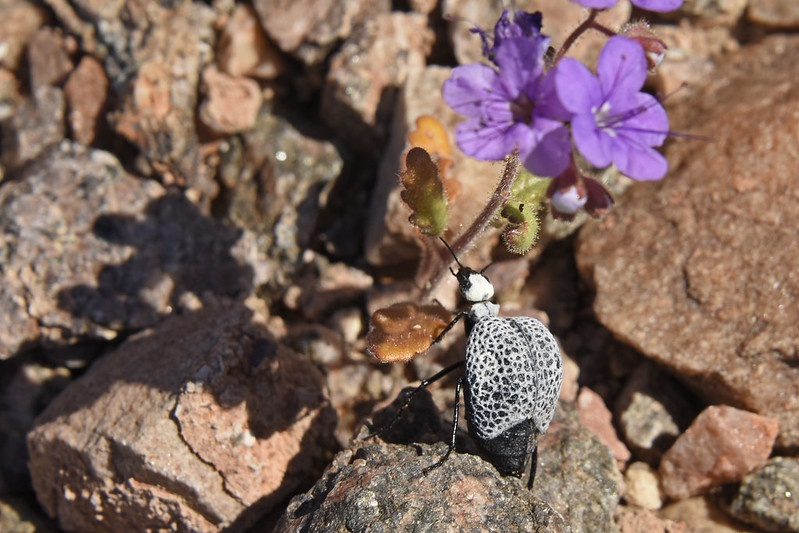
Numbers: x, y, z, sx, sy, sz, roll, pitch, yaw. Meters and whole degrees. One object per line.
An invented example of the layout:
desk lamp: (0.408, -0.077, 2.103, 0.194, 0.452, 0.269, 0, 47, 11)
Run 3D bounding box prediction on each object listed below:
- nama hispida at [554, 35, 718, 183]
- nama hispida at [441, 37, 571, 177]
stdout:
nama hispida: (1.745, -1.142, 7.518, 0.995, 1.127, 0.481, -15, 8, -43)
nama hispida: (0.805, -1.230, 7.484, 0.999, 0.619, 0.791, 6, 55, 5)
